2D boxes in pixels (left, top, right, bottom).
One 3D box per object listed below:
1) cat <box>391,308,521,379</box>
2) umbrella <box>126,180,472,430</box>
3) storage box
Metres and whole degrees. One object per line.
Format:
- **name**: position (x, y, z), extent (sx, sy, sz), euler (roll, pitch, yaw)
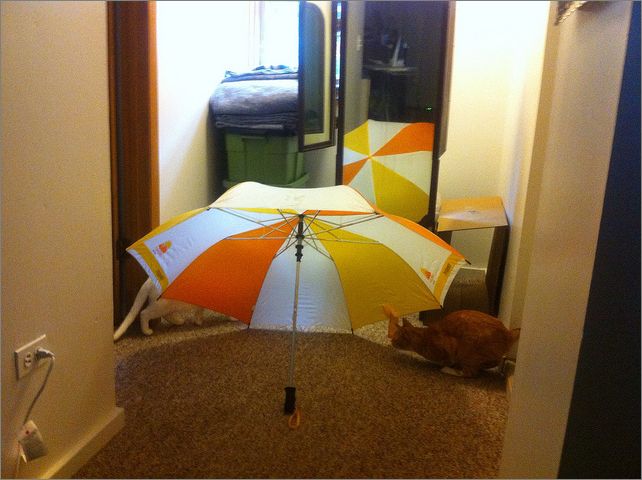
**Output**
- **cat**: position (0.576, 0.424, 2.290), extent (0.677, 0.323, 0.231), euler (-3, 32, 20)
- **umbrella**: position (-0.082, 0.092, 2.072), extent (1.095, 0.984, 0.694), euler (2, 51, 9)
- **storage box**: position (-0.358, -0.461, 3.038), extent (0.311, 0.478, 0.472), euler (4, 13, 12)
